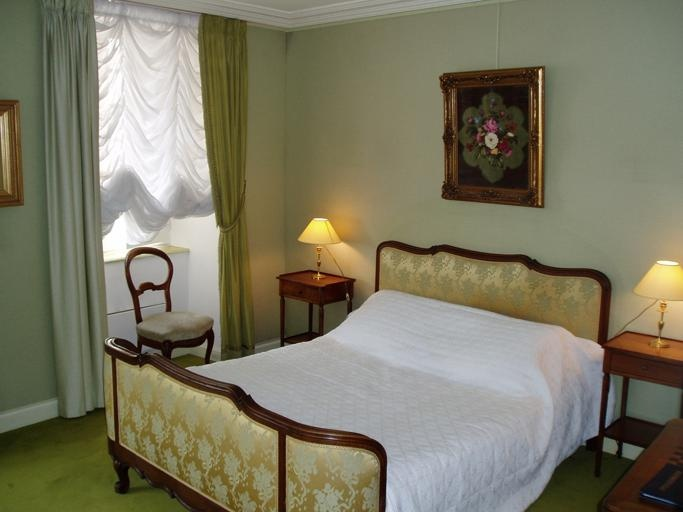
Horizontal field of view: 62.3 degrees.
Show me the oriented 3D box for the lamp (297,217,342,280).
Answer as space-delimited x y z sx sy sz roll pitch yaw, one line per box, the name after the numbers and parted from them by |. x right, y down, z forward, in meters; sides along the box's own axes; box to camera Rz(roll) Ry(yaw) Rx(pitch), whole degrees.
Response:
-0.221 -0.080 5.863 0.512 0.842 0.531 0 4 -3 | lamp
